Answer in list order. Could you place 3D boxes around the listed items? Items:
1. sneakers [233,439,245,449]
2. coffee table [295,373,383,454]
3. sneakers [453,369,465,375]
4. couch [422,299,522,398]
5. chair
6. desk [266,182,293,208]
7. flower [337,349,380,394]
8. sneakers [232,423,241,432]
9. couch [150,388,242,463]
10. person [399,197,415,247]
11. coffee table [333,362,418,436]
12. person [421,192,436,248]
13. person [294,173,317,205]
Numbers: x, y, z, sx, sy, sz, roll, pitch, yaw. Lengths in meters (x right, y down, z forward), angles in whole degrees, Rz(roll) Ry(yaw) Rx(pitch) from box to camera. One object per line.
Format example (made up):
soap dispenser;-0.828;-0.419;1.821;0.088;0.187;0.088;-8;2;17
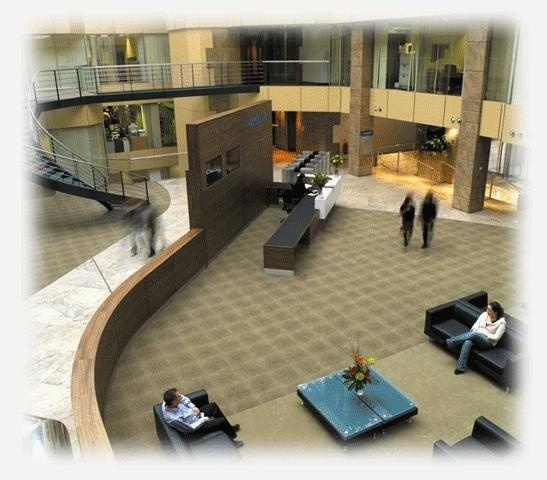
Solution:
sneakers;-0.510;2.985;5.784;0.187;0.118;0.061;4;32;16
coffee table;0.997;2.615;6.207;0.835;0.209;1.233;-13;22;-22
sneakers;3.343;2.378;7.119;0.201;0.073;0.082;-2;-20;7
couch;4.023;2.239;7.732;1.317;0.779;1.741;-16;31;-27
chair;2.649;2.566;4.971;0.640;0.374;0.584;-16;31;-19
desk;0.280;-1.924;16.077;0.978;0.881;0.957;8;34;13
flower;1.361;2.094;6.241;0.583;0.556;0.517;-11;2;45
sneakers;-0.554;2.825;5.978;0.063;0.110;0.166;4;32;8
couch;-1.086;2.637;5.519;0.653;0.636;0.895;-14;29;-22
person;4.167;-0.721;12.314;0.417;1.692;1.047;3;23;18
coffee table;1.770;2.507;6.225;0.811;0.263;1.168;-17;32;-31
person;4.687;-0.632;11.959;0.415;1.772;0.626;3;23;19
person;1.137;-1.882;14.893;0.810;1.123;0.769;-3;22;3
